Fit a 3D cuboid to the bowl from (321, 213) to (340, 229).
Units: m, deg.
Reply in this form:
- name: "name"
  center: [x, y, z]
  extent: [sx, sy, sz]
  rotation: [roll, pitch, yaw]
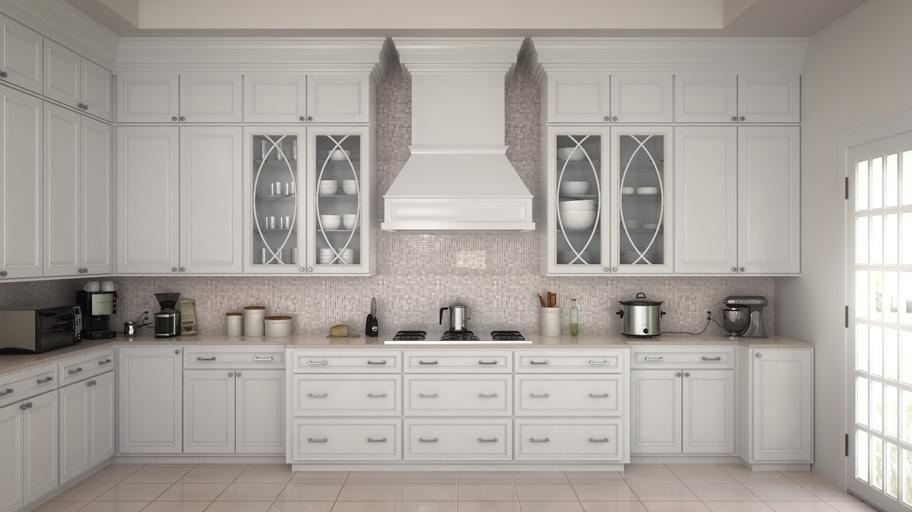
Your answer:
- name: "bowl"
  center: [-1.381, -0.386, 7.749]
  extent: [0.211, 0.114, 0.171]
  rotation: [0, 0, 8]

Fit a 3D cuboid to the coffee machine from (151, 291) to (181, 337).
- name: "coffee machine"
  center: [-3.267, 0.653, 7.928]
  extent: [0.282, 0.493, 0.251]
  rotation: [-1, -2, -21]

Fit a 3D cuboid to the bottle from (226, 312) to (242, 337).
- name: "bottle"
  center: [-2.524, 0.766, 7.967]
  extent: [0.180, 0.262, 0.183]
  rotation: [-2, -1, 0]

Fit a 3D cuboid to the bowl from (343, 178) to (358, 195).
- name: "bowl"
  center: [-1.173, -0.772, 7.743]
  extent: [0.201, 0.109, 0.172]
  rotation: [0, 0, 6]

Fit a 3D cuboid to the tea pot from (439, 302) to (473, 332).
- name: "tea pot"
  center: [-0.013, 0.691, 7.990]
  extent: [0.375, 0.327, 0.297]
  rotation: [-1, -1, 0]

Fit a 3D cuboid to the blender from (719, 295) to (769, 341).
- name: "blender"
  center: [3.230, 0.674, 7.995]
  extent: [0.618, 0.438, 0.316]
  rotation: [0, 0, -23]

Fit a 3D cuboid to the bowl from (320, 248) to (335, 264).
- name: "bowl"
  center: [-1.421, 0.002, 7.893]
  extent: [0.202, 0.141, 0.175]
  rotation: [0, -1, -2]

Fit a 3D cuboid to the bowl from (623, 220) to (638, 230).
- name: "bowl"
  center: [1.946, -0.340, 7.812]
  extent: [0.143, 0.046, 0.123]
  rotation: [-1, -1, 6]

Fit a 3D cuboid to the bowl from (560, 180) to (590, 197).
- name: "bowl"
  center: [1.325, -0.744, 7.764]
  extent: [0.253, 0.082, 0.216]
  rotation: [0, -1, 2]

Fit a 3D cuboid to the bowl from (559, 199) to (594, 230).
- name: "bowl"
  center: [1.326, -0.458, 7.884]
  extent: [0.406, 0.242, 0.385]
  rotation: [0, -6, 0]

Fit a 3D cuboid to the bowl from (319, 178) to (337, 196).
- name: "bowl"
  center: [-1.426, -0.768, 7.738]
  extent: [0.225, 0.122, 0.180]
  rotation: [0, 0, 3]

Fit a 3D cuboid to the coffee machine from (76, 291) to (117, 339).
- name: "coffee machine"
  center: [-4.053, 0.661, 7.885]
  extent: [0.467, 0.452, 0.394]
  rotation: [-14, -10, 22]

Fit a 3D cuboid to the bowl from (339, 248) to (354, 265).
- name: "bowl"
  center: [-1.212, 0.009, 7.909]
  extent: [0.211, 0.155, 0.180]
  rotation: [0, -2, 1]

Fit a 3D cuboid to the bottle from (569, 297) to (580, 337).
- name: "bottle"
  center: [1.353, 0.695, 8.049]
  extent: [0.122, 0.415, 0.192]
  rotation: [-2, -2, 11]

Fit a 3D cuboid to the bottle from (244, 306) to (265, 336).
- name: "bottle"
  center: [-2.313, 0.733, 7.998]
  extent: [0.220, 0.333, 0.238]
  rotation: [-2, -1, 0]
